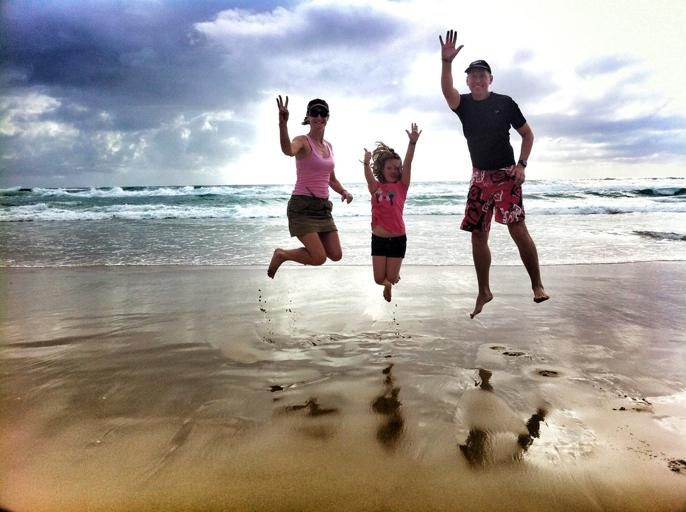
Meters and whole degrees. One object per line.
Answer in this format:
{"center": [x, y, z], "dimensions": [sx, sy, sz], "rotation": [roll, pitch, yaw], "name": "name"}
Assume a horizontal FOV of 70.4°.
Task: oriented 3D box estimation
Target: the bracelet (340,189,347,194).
{"center": [0.001, -0.757, 5.753], "dimensions": [0.079, 0.083, 0.034], "rotation": [-3, 5, 6], "name": "bracelet"}

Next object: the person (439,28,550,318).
{"center": [1.573, -0.799, 5.087], "dimensions": [1.136, 2.910, 0.485], "rotation": [1, 11, 10], "name": "person"}

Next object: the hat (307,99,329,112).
{"center": [-0.295, -1.575, 5.140], "dimensions": [0.253, 0.142, 0.237], "rotation": [2, 9, 13], "name": "hat"}

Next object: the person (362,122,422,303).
{"center": [0.536, -0.451, 5.608], "dimensions": [0.576, 1.995, 0.720], "rotation": [0, 10, 1], "name": "person"}
